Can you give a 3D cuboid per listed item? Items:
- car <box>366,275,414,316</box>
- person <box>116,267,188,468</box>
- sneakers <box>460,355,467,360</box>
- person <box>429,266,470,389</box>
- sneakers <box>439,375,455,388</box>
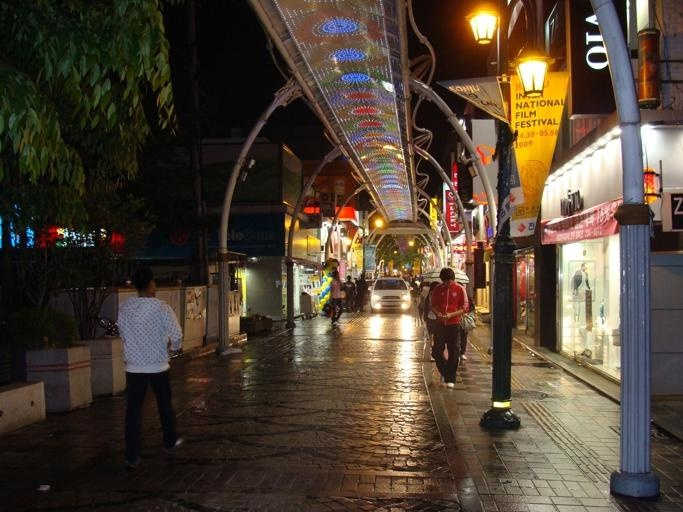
[{"bbox_3d":[3.157,2.535,37.910,2.392,2.242,2.896,2,2,5],"label":"car"},{"bbox_3d":[-2.518,1.390,7.702,0.769,2.491,0.748,0,-2,-21],"label":"person"},{"bbox_3d":[3.493,2.906,16.792,0.144,0.138,0.291,-1,-13,2],"label":"sneakers"},{"bbox_3d":[2.228,1.442,12.231,0.759,2.494,0.649,0,2,-3],"label":"person"},{"bbox_3d":[2.241,2.662,12.460,0.176,0.258,0.569,1,-12,2],"label":"sneakers"}]
